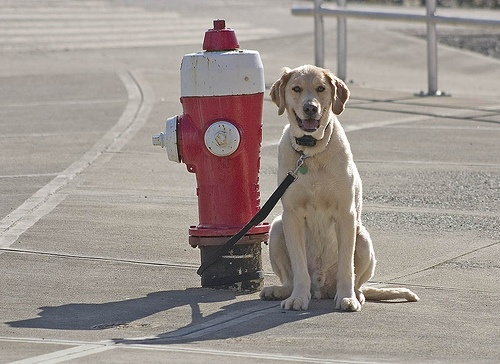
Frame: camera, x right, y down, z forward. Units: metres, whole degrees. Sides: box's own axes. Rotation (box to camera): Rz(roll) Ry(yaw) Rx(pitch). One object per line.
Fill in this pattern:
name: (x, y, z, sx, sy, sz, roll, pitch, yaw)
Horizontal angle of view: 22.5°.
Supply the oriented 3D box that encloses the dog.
dog: (0.736, 0.092, 13.328, 1.486, 2.474, 1.223, 16, 26, 40)
